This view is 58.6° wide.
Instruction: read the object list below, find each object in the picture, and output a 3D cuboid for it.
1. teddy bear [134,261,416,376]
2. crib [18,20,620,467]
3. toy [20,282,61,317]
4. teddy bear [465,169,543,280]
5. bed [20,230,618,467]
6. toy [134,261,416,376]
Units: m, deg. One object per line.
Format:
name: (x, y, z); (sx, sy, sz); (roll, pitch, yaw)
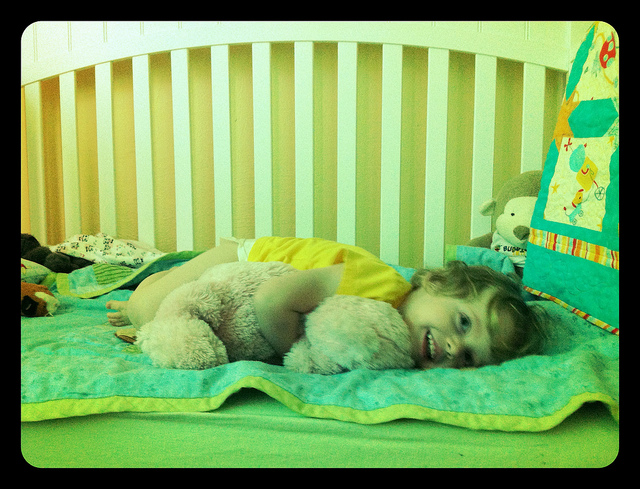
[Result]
teddy bear: (-0.089, 0.155, 1.215); (0.371, 0.127, 0.285); (10, -10, 13)
crib: (0.061, -0.032, 1.462); (1.199, 0.760, 0.659); (0, -4, 4)
toy: (-0.748, 0.147, 1.531); (0.093, 0.075, 0.094); (-2, 10, -25)
teddy bear: (0.544, -0.067, 1.658); (0.161, 0.297, 0.150); (5, 10, 19)
bed: (-0.077, 0.206, 1.308); (1.432, 0.400, 0.650); (3, 9, 10)
toy: (-0.091, 0.182, 1.194); (0.371, 0.125, 0.286); (11, -9, 14)
